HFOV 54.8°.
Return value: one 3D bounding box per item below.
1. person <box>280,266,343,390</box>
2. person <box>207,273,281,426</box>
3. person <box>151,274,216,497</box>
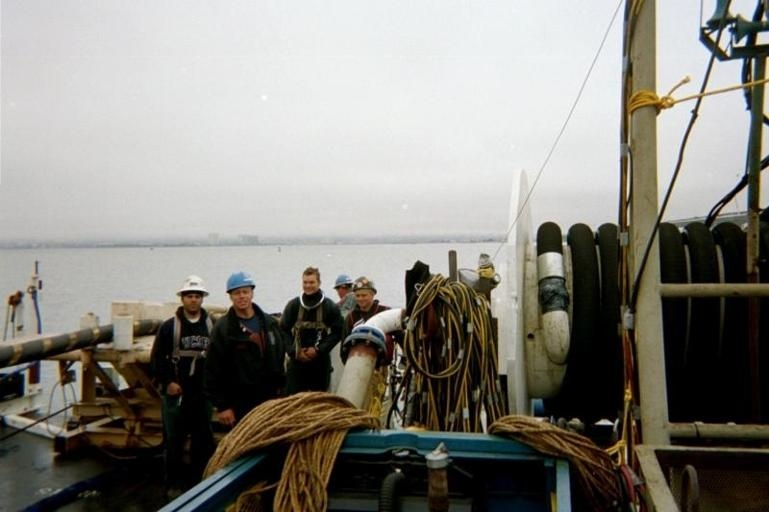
[{"bbox_3d":[-1.030,1.049,10.557,0.902,1.800,0.745,0,-2,-9],"label":"person"},{"bbox_3d":[-1.721,1.145,9.171,0.940,1.896,0.372,0,-2,-16],"label":"person"},{"bbox_3d":[-2.594,1.643,9.545,0.753,2.772,0.484,0,-2,-17],"label":"person"}]
